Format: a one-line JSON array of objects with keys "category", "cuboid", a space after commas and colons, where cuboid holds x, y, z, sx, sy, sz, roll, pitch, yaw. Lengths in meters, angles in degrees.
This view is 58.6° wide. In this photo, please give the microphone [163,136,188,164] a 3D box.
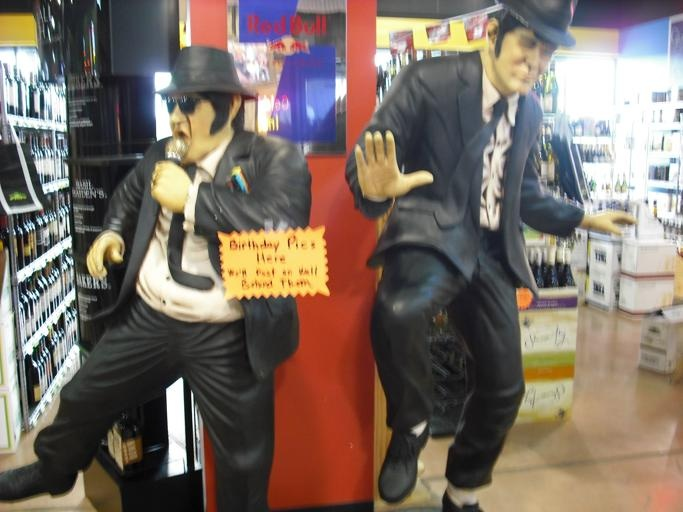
[{"category": "microphone", "cuboid": [-0.581, -0.368, 2.133, 0.074, 0.084, 0.080, 1, 7, 13]}]

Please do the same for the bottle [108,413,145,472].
[{"category": "bottle", "cuboid": [-0.932, 0.805, 2.660, 0.169, 0.232, 0.051, -9, -1, 17]}]
